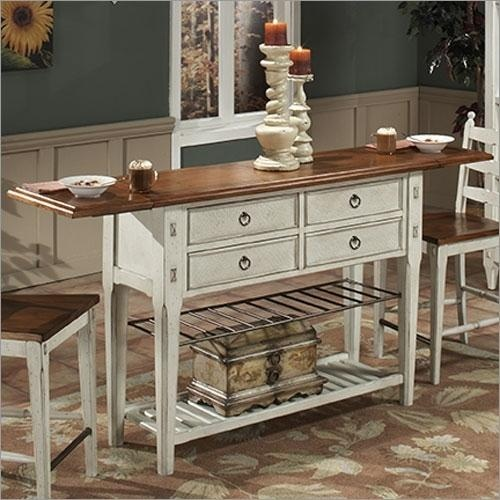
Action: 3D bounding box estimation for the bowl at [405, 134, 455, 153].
[{"bbox_3d":[0.772,-0.462,2.570,0.192,0.040,0.164,-1,16,1],"label":"bowl"}]

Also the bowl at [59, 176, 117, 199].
[{"bbox_3d":[-0.474,-0.198,1.804,0.121,0.029,0.123,-1,12,0],"label":"bowl"}]

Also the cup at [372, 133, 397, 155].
[{"bbox_3d":[0.587,-0.471,2.595,0.083,0.074,0.121,-8,14,-33],"label":"cup"}]

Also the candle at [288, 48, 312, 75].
[{"bbox_3d":[0.198,-0.748,2.376,0.130,0.110,0.113,0,16,7],"label":"candle"}]

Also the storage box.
[{"bbox_3d":[0.009,0.453,2.417,0.290,0.256,0.517,7,8,45],"label":"storage box"}]

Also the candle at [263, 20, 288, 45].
[{"bbox_3d":[0.090,-0.780,2.141,0.086,0.090,0.092,3,14,11],"label":"candle"}]
